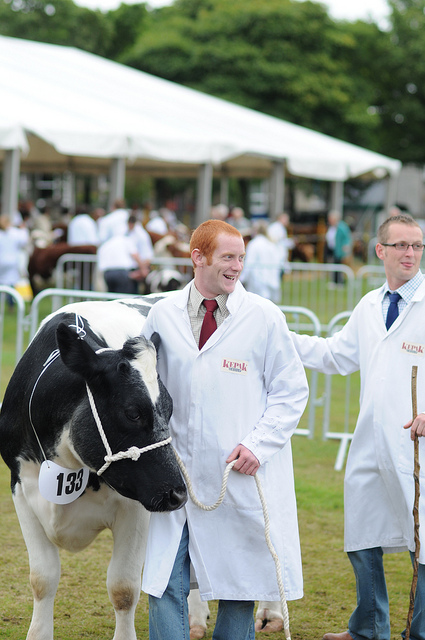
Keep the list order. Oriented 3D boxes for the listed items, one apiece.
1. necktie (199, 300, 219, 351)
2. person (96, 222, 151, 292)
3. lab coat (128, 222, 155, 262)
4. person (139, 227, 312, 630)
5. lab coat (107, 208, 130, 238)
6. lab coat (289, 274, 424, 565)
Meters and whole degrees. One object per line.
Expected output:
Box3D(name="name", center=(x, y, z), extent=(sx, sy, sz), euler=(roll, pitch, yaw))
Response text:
Box3D(name="necktie", center=(-0.019, 0.029, 6.164), extent=(0.085, 0.235, 0.061), euler=(-1, -21, 14))
Box3D(name="person", center=(-1.034, -0.576, 14.760), extent=(0.533, 1.283, 0.502), euler=(8, 17, 26))
Box3D(name="lab coat", center=(-0.878, -0.968, 15.457), extent=(0.292, 0.446, 0.971), euler=(1, 3, -3))
Box3D(name="person", center=(0.071, 0.513, 6.076), extent=(0.758, 1.905, 0.428), euler=(1, 4, 3))
Box3D(name="lab coat", center=(-1.129, -1.157, 15.084), extent=(0.265, 0.349, 0.811), euler=(1, 3, -4))
Box3D(name="lab coat", center=(0.870, 0.519, 6.692), extent=(0.799, 1.371, 0.972), euler=(-1, 15, 8))
